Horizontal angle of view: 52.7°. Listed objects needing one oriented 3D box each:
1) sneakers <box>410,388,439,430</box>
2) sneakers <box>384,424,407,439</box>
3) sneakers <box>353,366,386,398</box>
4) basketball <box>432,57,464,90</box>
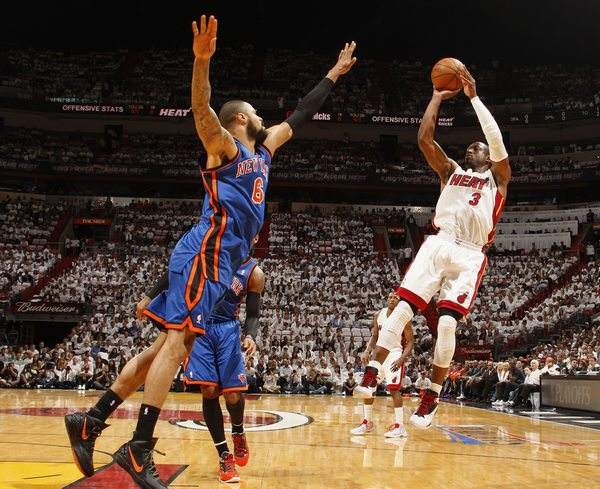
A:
[{"bbox_3d":[1.241,1.568,5.903,0.158,0.277,0.553,0,12,34],"label":"sneakers"},{"bbox_3d":[1.255,2.458,7.970,0.276,0.189,0.299,5,-8,10],"label":"sneakers"},{"bbox_3d":[0.621,1.279,5.657,0.112,0.233,0.331,18,4,18],"label":"sneakers"},{"bbox_3d":[1.537,-1.772,6.274,0.324,0.430,0.184,4,-6,16],"label":"basketball"}]
